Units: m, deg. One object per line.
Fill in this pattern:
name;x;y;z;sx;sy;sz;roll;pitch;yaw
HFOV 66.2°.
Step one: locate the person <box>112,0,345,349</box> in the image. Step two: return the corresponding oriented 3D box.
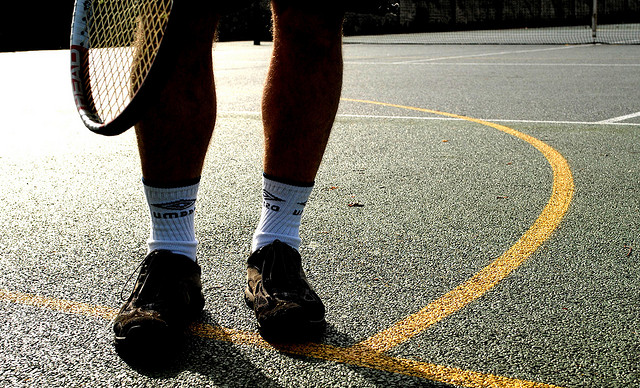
person;-0.357;-0.120;1.928;0.919;1.217;0.737;-1;19;-12
